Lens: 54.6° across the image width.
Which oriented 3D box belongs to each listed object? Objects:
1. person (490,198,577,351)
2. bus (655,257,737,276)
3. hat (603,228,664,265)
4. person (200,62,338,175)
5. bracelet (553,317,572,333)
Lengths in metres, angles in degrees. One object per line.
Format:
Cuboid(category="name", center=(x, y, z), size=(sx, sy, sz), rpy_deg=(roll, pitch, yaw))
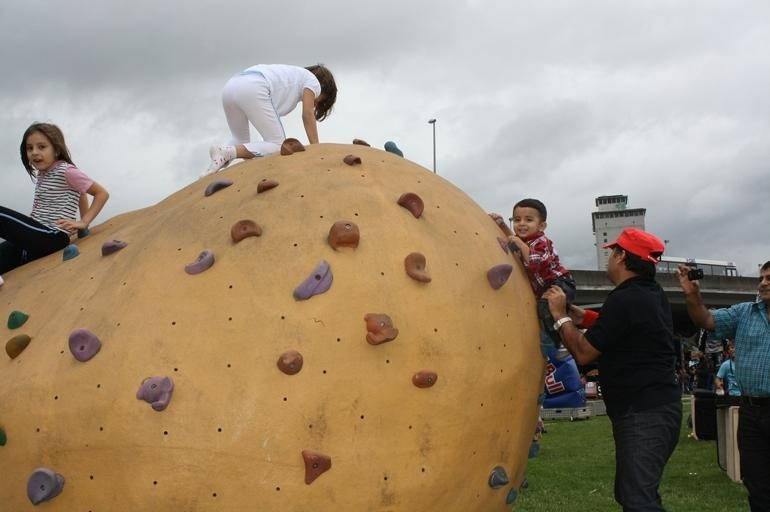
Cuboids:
Cuboid(category="person", center=(1.466, 0.345, 7.238), size=(0.582, 1.765, 0.557), rpy_deg=(0, 6, 29))
Cuboid(category="bus", center=(13.403, 0.514, 32.332), size=(3.599, 1.157, 0.928), rpy_deg=(-1, 4, -23))
Cuboid(category="hat", center=(2.343, -0.127, 7.039), size=(0.509, 0.268, 0.378), rpy_deg=(13, 7, 25))
Cuboid(category="person", center=(-1.331, -1.646, 8.698), size=(0.965, 1.247, 1.735), rpy_deg=(17, 23, 42))
Cuboid(category="bracelet", center=(1.596, 0.606, 6.722), size=(0.142, 0.138, 0.135), rpy_deg=(-44, -15, 22))
